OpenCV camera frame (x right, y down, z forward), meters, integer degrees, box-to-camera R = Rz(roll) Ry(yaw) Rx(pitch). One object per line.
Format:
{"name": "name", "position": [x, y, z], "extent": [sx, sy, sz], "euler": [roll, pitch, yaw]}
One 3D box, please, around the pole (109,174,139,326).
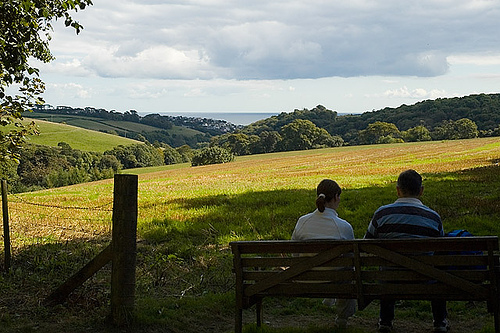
{"name": "pole", "position": [-2.874, 1.816, 10.891], "extent": [0.767, 3.082, 0.741], "euler": [0, -2, -11]}

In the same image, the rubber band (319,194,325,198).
{"name": "rubber band", "position": [1.487, 0.599, 10.025], "extent": [0.075, 0.055, 0.073], "euler": [-1, 1, -42]}

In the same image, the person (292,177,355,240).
{"name": "person", "position": [1.550, 1.021, 10.329], "extent": [1.424, 1.396, 0.782], "euler": [-2, -9, 30]}
